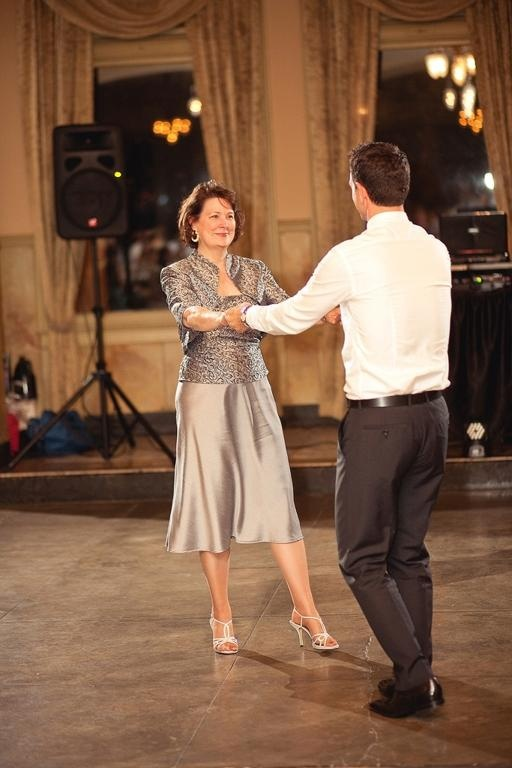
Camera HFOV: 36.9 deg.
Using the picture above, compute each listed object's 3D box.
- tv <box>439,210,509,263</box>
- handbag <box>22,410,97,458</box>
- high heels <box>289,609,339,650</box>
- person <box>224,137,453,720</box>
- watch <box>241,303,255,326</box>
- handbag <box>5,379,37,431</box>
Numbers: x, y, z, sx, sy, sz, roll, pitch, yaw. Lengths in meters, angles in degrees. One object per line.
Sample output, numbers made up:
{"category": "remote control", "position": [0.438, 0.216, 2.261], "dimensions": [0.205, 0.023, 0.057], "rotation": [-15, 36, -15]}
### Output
{"category": "tv", "position": [1.418, -0.928, 5.099], "dimensions": [0.580, 0.315, 0.410], "rotation": [-1, -8, 10]}
{"category": "handbag", "position": [-1.392, 0.354, 5.442], "dimensions": [0.394, 0.144, 0.367], "rotation": [1, 30, -5]}
{"category": "high heels", "position": [0.183, 0.787, 2.466], "dimensions": [0.072, 0.105, 0.201], "rotation": [2, -4, -34]}
{"category": "person", "position": [0.261, 0.117, 1.884], "dimensions": [0.435, 1.397, 0.237], "rotation": [-2, 3, 11]}
{"category": "watch", "position": [-0.032, -0.203, 2.163], "dimensions": [0.017, 0.052, 0.050], "rotation": [15, 52, 22]}
{"category": "handbag", "position": [-1.690, 0.138, 5.510], "dimensions": [0.093, 0.303, 0.251], "rotation": [-11, -13, 41]}
